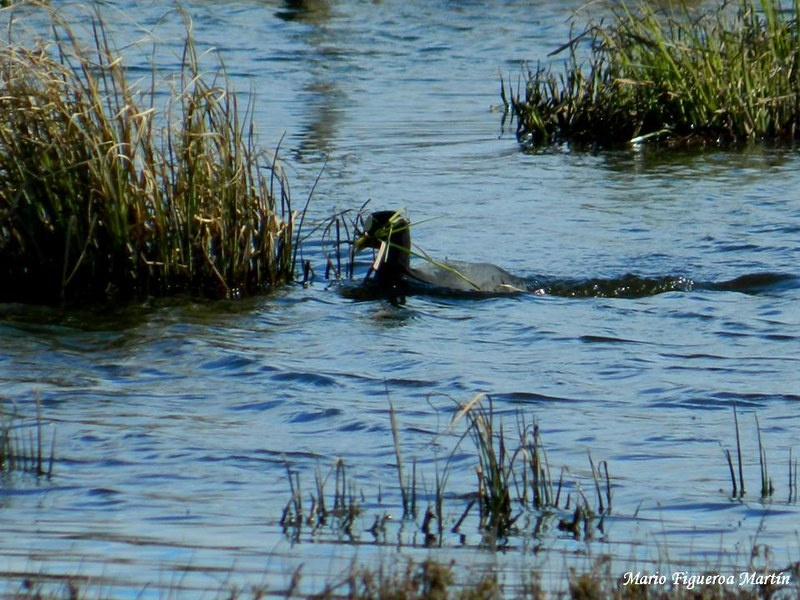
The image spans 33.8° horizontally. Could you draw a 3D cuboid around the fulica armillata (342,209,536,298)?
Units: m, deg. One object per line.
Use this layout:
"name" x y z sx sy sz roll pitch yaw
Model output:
"fulica armillata" 0.215 -0.271 9.388 1.377 0.464 0.425 7 2 -28
